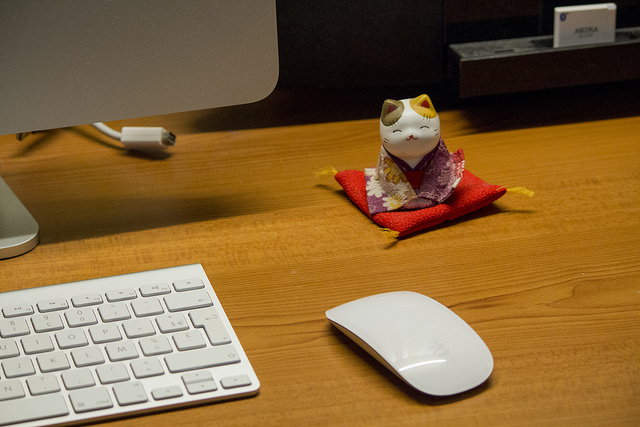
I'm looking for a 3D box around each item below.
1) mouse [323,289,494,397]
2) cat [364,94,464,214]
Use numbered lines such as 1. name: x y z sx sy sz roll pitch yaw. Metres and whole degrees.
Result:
1. mouse: 0.111 0.135 0.583 0.154 0.248 0.049 40 100 34
2. cat: 0.100 -0.064 0.724 0.166 0.149 0.139 -8 46 6
